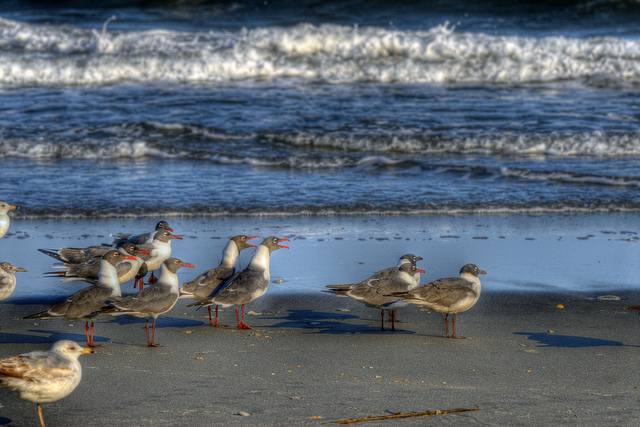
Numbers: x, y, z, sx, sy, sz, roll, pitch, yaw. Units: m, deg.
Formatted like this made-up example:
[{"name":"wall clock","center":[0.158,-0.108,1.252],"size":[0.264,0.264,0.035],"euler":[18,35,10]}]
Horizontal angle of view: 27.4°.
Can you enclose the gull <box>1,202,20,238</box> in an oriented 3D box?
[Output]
[{"name":"gull","center":[-8.584,0.163,35.774],"size":[0.411,0.940,1.029],"euler":[3,1,-11]}]
